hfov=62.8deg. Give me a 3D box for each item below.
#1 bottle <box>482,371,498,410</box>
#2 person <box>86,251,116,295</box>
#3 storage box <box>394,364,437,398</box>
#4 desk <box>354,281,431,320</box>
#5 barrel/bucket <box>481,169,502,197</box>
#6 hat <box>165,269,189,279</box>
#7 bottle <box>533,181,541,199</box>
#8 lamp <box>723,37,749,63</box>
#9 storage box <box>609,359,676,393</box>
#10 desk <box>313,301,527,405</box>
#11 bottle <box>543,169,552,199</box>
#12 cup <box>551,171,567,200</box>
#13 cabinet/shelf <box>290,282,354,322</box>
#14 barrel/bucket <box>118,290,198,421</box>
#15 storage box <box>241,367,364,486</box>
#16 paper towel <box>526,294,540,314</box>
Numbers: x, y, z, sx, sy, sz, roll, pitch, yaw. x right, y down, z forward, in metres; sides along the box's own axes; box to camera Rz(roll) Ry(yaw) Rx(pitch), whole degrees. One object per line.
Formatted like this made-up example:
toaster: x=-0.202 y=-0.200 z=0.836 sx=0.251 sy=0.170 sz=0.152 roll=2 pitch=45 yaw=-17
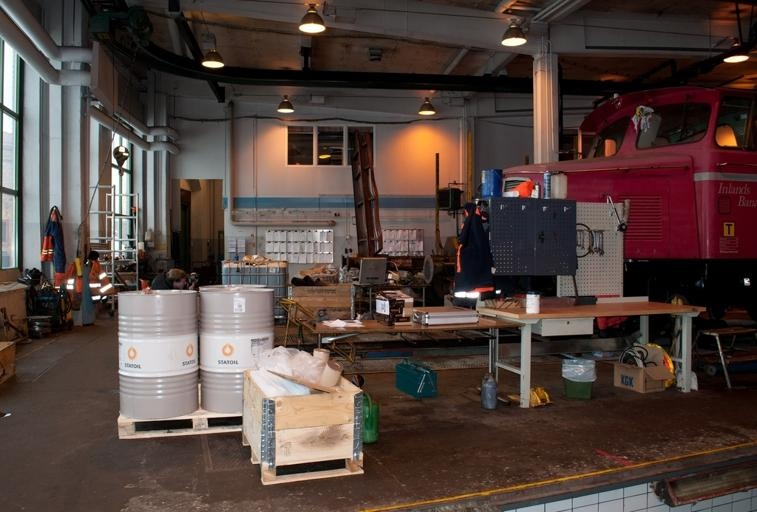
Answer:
bottle: x=1.305 y=1.585 z=7.268 sx=0.184 sy=0.399 sz=0.191 roll=0 pitch=13 yaw=0
person: x=-5.420 y=0.409 z=11.884 sx=0.424 sy=0.905 sz=0.225 roll=-4 pitch=20 yaw=28
storage box: x=0.457 y=1.523 z=7.787 sx=0.379 sy=0.427 sz=0.655 roll=-3 pitch=3 yaw=-21
desk: x=0.248 y=0.635 z=7.576 sx=0.737 sy=0.288 sz=0.686 roll=0 pitch=3 yaw=-13
barrel/bucket: x=1.437 y=-0.921 z=7.852 sx=0.254 sy=0.339 sz=0.335 roll=1 pitch=13 yaw=7
hat: x=-2.747 y=0.264 z=8.507 sx=0.176 sy=0.155 sz=0.226 roll=-39 pitch=-36 yaw=26
bottle: x=2.014 y=-0.845 z=7.925 sx=0.085 sy=0.179 sz=0.260 roll=3 pitch=13 yaw=12
lamp: x=6.921 y=-4.015 z=11.984 sx=0.376 sy=0.504 sz=1.455 roll=7 pitch=14 yaw=28
storage box: x=3.314 y=1.528 z=7.940 sx=0.357 sy=0.241 sz=0.573 roll=1 pitch=-1 yaw=-19
desk: x=0.560 y=1.126 z=7.726 sx=2.588 sy=1.090 sz=1.156 roll=0 pitch=13 yaw=1
bottle: x=2.179 y=-0.917 z=7.960 sx=0.093 sy=0.318 sz=0.146 roll=4 pitch=14 yaw=15
cup: x=2.306 y=-0.907 z=7.976 sx=0.252 sy=0.319 sz=0.133 roll=-8 pitch=16 yaw=-32
cabinet/shelf: x=-0.990 y=0.657 z=10.993 sx=1.120 sy=0.685 sz=0.629 roll=-1 pitch=-5 yaw=-14
barrel/bucket: x=-2.312 y=1.037 z=6.530 sx=0.829 sy=1.292 sz=0.469 roll=-4 pitch=14 yaw=-17
storage box: x=-0.675 y=1.636 z=5.877 sx=1.042 sy=0.567 sz=0.973 roll=0 pitch=-1 yaw=-20
paper towel: x=1.843 y=0.564 z=7.400 sx=0.235 sy=0.227 sz=0.216 roll=0 pitch=1 yaw=-6
